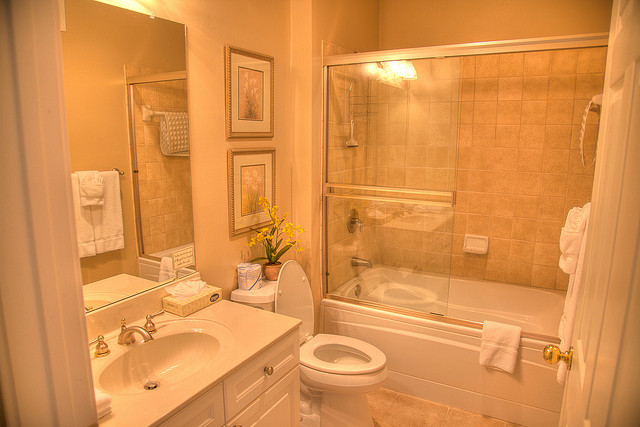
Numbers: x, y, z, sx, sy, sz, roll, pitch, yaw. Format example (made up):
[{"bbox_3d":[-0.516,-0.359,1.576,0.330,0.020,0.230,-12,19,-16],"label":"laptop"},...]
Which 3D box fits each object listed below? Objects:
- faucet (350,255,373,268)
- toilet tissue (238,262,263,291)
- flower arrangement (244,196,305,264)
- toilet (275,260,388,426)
[{"bbox_3d":[0.298,0.344,3.207,0.147,0.093,0.064,5,8,29],"label":"faucet"},{"bbox_3d":[-0.423,0.386,2.707,0.159,0.123,0.129,-1,9,13],"label":"toilet tissue"},{"bbox_3d":[-0.315,0.151,2.870,0.348,0.385,0.341,2,6,30],"label":"flower arrangement"},{"bbox_3d":[0.082,0.781,2.740,0.638,0.988,0.457,-1,12,7],"label":"toilet"}]
